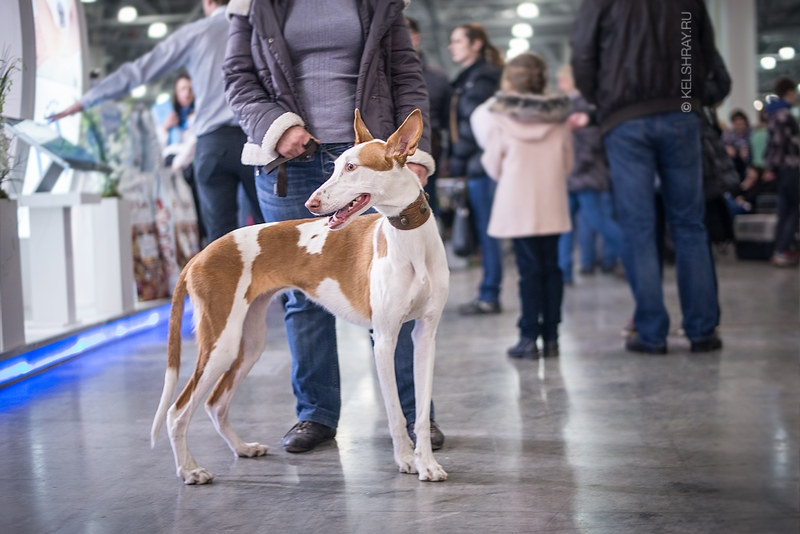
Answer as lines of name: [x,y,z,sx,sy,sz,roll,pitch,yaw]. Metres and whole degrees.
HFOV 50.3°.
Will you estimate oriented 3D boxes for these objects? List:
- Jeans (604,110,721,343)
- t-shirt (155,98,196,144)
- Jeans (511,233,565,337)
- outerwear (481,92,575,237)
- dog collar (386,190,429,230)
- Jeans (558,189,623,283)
Jeans: [1.548,-0.267,5.084,0.554,1.414,0.392,-3,-7,8]
t-shirt: [-2.488,-1.559,9.206,0.138,0.498,0.528,3,36,-33]
Jeans: [0.922,0.134,5.681,0.304,0.678,0.250,-2,15,6]
outerwear: [0.792,-0.689,5.693,0.389,0.937,0.662,-16,19,-39]
dog collar: [0.040,-0.273,4.019,0.199,0.111,0.152,-15,15,-2]
Jeans: [1.332,-0.338,5.832,0.380,0.742,1.401,8,3,12]
